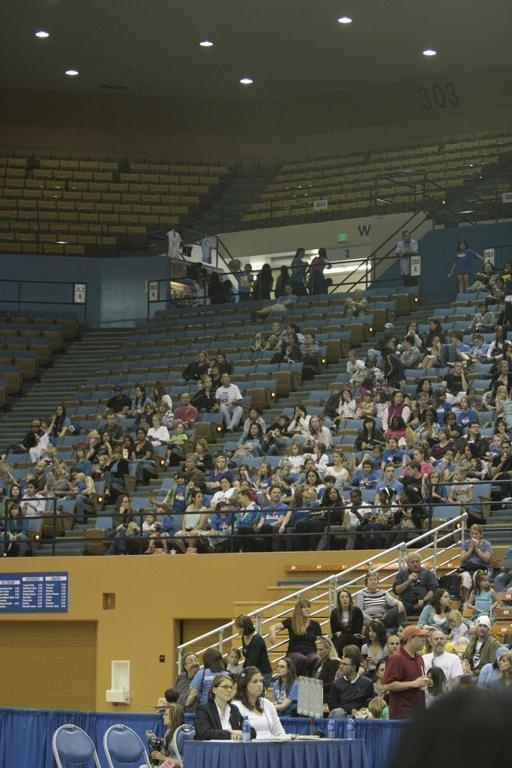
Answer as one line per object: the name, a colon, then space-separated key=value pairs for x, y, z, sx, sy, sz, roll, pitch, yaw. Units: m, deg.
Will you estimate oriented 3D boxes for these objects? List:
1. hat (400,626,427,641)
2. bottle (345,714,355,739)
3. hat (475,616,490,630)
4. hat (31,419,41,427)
hat: x=1.218 y=1.951 z=11.423 sx=0.211 sy=0.111 sz=0.134 roll=-13 pitch=4 yaw=-2
bottle: x=0.716 y=2.668 z=11.491 sx=0.071 sy=0.142 sz=0.244 roll=-3 pitch=-5 yaw=3
hat: x=1.944 y=2.071 z=12.876 sx=0.103 sy=0.108 sz=0.135 roll=8 pitch=-14 yaw=12
hat: x=-3.408 y=0.621 z=23.081 sx=0.112 sy=0.130 sz=0.149 roll=2 pitch=-21 yaw=1
